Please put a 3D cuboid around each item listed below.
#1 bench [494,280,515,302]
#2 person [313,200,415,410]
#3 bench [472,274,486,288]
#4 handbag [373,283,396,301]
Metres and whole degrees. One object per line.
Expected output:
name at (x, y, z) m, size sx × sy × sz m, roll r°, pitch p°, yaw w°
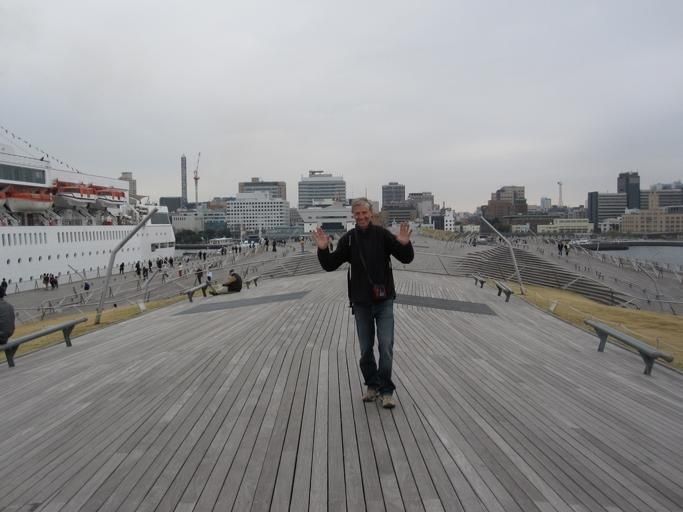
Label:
bench at (6.120, 1.302, 14.912) m, size 0.398 × 0.533 × 1.868 m, roll 5°, pitch 12°, yaw 1°
person at (0.250, 0.486, 3.893) m, size 0.885 × 2.062 × 0.439 m, roll -1°, pitch 1°, yaw 10°
bench at (6.551, 1.186, 18.771) m, size 0.406 × 0.543 × 1.873 m, roll -2°, pitch -7°, yaw 17°
handbag at (0.407, 0.337, 3.758) m, size 0.196 × 0.203 × 0.133 m, roll -3°, pitch 4°, yaw 7°
